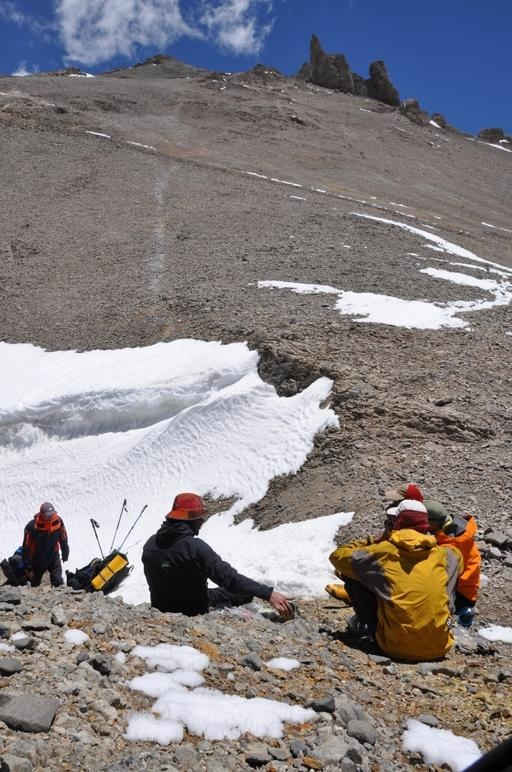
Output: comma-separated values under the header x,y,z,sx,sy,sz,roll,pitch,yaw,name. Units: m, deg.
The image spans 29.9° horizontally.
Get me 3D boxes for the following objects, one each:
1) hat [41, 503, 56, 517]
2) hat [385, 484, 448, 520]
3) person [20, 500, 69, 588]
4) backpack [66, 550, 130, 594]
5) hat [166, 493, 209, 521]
x,y,z,sx,sy,sz,roll,pitch,yaw,name
-2.798,1.617,12.710,0.153,0.095,0.197,-25,16,-38,hat
1.815,1.281,10.715,0.635,0.193,0.397,22,-4,28,hat
-2.836,2.084,12.689,0.531,1.056,0.435,2,14,-14,person
-2.012,2.317,11.818,0.716,0.264,0.544,-21,-10,31,backpack
-0.717,1.255,10.112,0.355,0.161,0.307,-1,-8,15,hat
